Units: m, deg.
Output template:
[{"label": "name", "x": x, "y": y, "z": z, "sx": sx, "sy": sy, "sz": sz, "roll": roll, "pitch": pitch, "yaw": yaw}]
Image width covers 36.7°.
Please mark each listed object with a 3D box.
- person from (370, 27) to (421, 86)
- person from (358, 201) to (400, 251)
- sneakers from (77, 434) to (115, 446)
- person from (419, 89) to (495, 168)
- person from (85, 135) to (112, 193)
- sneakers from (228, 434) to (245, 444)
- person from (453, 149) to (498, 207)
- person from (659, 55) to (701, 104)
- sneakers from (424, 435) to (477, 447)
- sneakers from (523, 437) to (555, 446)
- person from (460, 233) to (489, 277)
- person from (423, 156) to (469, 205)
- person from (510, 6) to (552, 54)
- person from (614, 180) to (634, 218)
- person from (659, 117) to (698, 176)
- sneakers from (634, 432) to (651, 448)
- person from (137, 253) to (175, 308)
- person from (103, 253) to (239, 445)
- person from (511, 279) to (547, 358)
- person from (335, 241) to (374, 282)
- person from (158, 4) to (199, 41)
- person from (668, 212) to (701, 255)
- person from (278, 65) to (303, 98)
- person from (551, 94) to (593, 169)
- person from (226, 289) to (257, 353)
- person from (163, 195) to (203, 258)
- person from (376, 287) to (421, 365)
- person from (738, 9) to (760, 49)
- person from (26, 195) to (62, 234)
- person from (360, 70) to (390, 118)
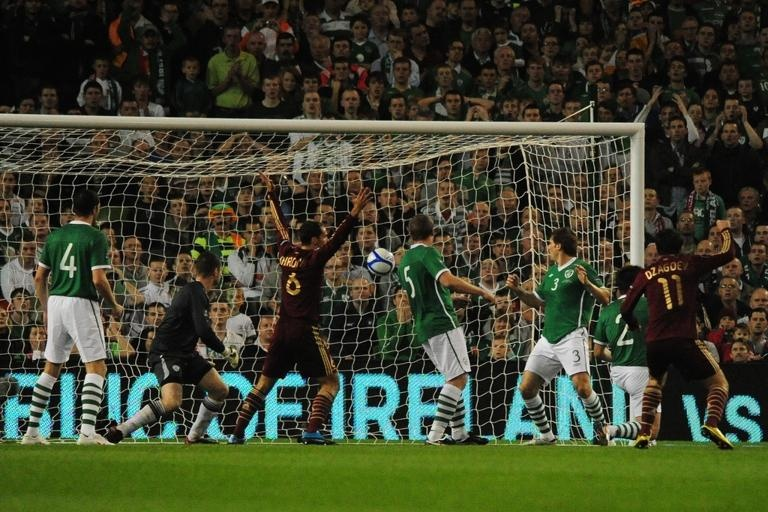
[{"label": "person", "x": 0.195, "y": -3.438, "z": 20.257, "sx": 0.872, "sy": 1.273, "sz": 0.696, "roll": -1, "pitch": -18, "yaw": -5}, {"label": "person", "x": -0.131, "y": -0.421, "z": 17.773, "sx": 0.548, "sy": 0.788, "sz": 0.302, "roll": -7, "pitch": 0, "yaw": -7}, {"label": "sneakers", "x": -3.584, "y": 2.277, "z": 14.361, "sx": 0.441, "sy": 0.182, "sz": 0.162, "roll": 1, "pitch": -10, "yaw": -5}, {"label": "person", "x": 1.086, "y": -1.959, "z": 18.127, "sx": 1.315, "sy": 1.835, "sz": 0.535, "roll": -1, "pitch": -18, "yaw": -6}, {"label": "person", "x": -4.516, "y": -1.479, "z": 18.304, "sx": 0.341, "sy": 0.990, "sz": 1.407, "roll": -2, "pitch": 0, "yaw": -13}, {"label": "sneakers", "x": -1.907, "y": 2.351, "z": 14.924, "sx": 0.241, "sy": 0.106, "sz": 0.091, "roll": 2, "pitch": 1, "yaw": 24}, {"label": "person", "x": 1.415, "y": -1.210, "z": 18.380, "sx": 0.769, "sy": 1.282, "sz": 0.382, "roll": 5, "pitch": -39, "yaw": -3}, {"label": "person", "x": 5.210, "y": -3.085, "z": 20.470, "sx": 0.734, "sy": 0.794, "sz": 0.428, "roll": -4, "pitch": -30, "yaw": 7}, {"label": "sneakers", "x": 0.864, "y": 2.400, "z": 15.091, "sx": 0.594, "sy": 0.234, "sz": 0.205, "roll": 8, "pitch": -8, "yaw": -14}, {"label": "sneakers", "x": 2.072, "y": 2.477, "z": 15.558, "sx": 0.422, "sy": 0.191, "sz": 0.148, "roll": 2, "pitch": -9, "yaw": 5}, {"label": "person", "x": 1.366, "y": 0.011, "z": 17.749, "sx": 0.500, "sy": 0.811, "sz": 0.437, "roll": 2, "pitch": -17, "yaw": 5}, {"label": "person", "x": 0.930, "y": -1.280, "z": 18.547, "sx": 0.723, "sy": 0.750, "sz": 0.181, "roll": -5, "pitch": -21, "yaw": 13}, {"label": "person", "x": 2.599, "y": -4.020, "z": 20.786, "sx": 0.622, "sy": 0.913, "sz": 0.499, "roll": -10, "pitch": -39, "yaw": -7}, {"label": "person", "x": 3.836, "y": -0.911, "z": 18.710, "sx": 0.159, "sy": 0.534, "sz": 0.709, "roll": 6, "pitch": 7, "yaw": -13}, {"label": "person", "x": 5.071, "y": -1.859, "z": 19.897, "sx": 0.704, "sy": 0.823, "sz": 0.369, "roll": -2, "pitch": 0, "yaw": -1}, {"label": "sneakers", "x": 3.242, "y": 2.333, "z": 14.684, "sx": 0.197, "sy": 0.162, "sz": 0.219, "roll": -2, "pitch": 0, "yaw": 17}, {"label": "person", "x": -3.407, "y": 0.392, "z": 17.157, "sx": 0.657, "sy": 0.820, "sz": 0.403, "roll": 2, "pitch": -39, "yaw": -14}, {"label": "person", "x": -2.591, "y": 1.186, "z": 14.672, "sx": 1.457, "sy": 2.375, "sz": 0.678, "roll": -2, "pitch": 0, "yaw": -21}, {"label": "person", "x": 1.972, "y": 0.908, "z": 17.093, "sx": 0.248, "sy": 1.091, "sz": 0.763, "roll": -3, "pitch": -9, "yaw": -21}, {"label": "person", "x": -0.565, "y": 0.091, "z": 17.466, "sx": 0.719, "sy": 0.557, "sz": 0.170, "roll": 0, "pitch": -6, "yaw": -13}, {"label": "person", "x": -3.633, "y": -4.042, "z": 20.095, "sx": 0.602, "sy": 0.734, "sz": 0.250, "roll": -2, "pitch": 0, "yaw": -10}, {"label": "person", "x": 4.690, "y": -0.340, "z": 18.039, "sx": 0.492, "sy": 0.730, "sz": 0.492, "roll": -7, "pitch": -28, "yaw": 6}, {"label": "person", "x": -1.652, "y": -2.952, "z": 19.833, "sx": 0.437, "sy": 0.780, "sz": 0.462, "roll": 0, "pitch": -13, "yaw": -9}, {"label": "person", "x": 3.002, "y": -1.967, "z": 18.812, "sx": 0.844, "sy": 1.374, "sz": 0.387, "roll": -8, "pitch": -18, "yaw": 31}, {"label": "person", "x": -2.204, "y": 1.009, "z": 17.248, "sx": 0.467, "sy": 1.063, "sz": 0.322, "roll": 5, "pitch": 34, "yaw": 19}, {"label": "person", "x": -3.152, "y": -0.460, "z": 18.083, "sx": 0.531, "sy": 0.912, "sz": 0.354, "roll": 2, "pitch": -2, "yaw": 18}, {"label": "person", "x": 0.192, "y": 0.917, "z": 17.206, "sx": 0.609, "sy": 1.110, "sz": 0.625, "roll": -15, "pitch": 18, "yaw": -43}, {"label": "person", "x": 6.602, "y": -4.082, "z": 21.007, "sx": 0.479, "sy": 0.824, "sz": 0.506, "roll": 2, "pitch": -33, "yaw": 11}, {"label": "person", "x": -5.223, "y": -0.626, "z": 17.645, "sx": 0.428, "sy": 0.815, "sz": 0.456, "roll": -7, "pitch": -32, "yaw": -15}, {"label": "person", "x": -0.180, "y": -2.752, "z": 19.942, "sx": 0.676, "sy": 0.883, "sz": 0.453, "roll": 1, "pitch": -20, "yaw": -7}]
